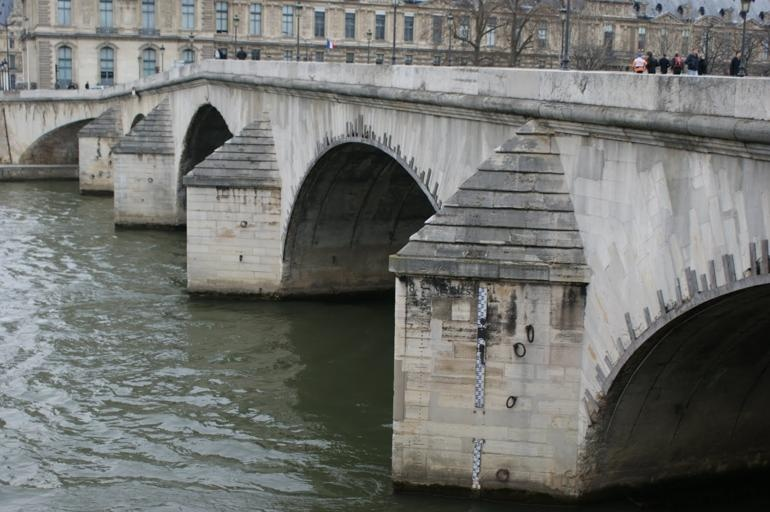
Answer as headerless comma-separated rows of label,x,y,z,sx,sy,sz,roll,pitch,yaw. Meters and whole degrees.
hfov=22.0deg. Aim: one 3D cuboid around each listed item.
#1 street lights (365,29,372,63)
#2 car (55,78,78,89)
street lights,-0.839,-11.766,110.311,0.233,1.799,0.618,5,4,20
car,-16.522,-9.069,104.274,1.036,0.596,7.697,3,3,-10
